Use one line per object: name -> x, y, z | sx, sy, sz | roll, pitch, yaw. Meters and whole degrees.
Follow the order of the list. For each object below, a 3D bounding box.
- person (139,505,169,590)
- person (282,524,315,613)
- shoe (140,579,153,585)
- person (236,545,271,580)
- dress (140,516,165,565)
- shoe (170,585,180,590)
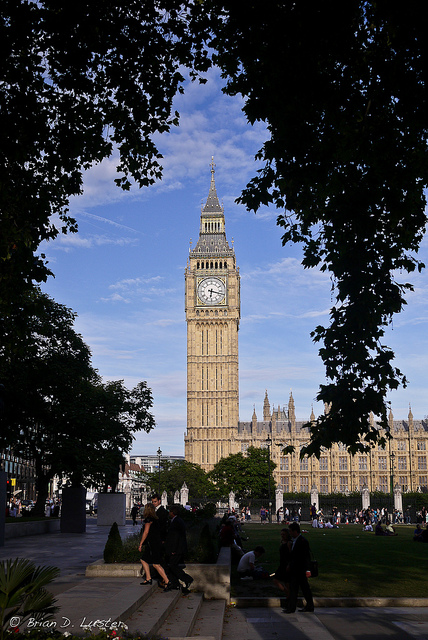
person -> -1.173, 4.471, 14.329 | 0.575, 1.550, 1.459 | 1, -12, -5
person -> 1.527, 4.589, 13.363 | 0.577, 1.592, 0.912 | -1, -13, 5
shoe -> -1.274, 4.907, 13.575 | 0.210, 0.081, 0.214 | 1, -12, -5
person -> 0.971, 5.930, 17.720 | 0.949, 0.778, 0.547 | -12, -17, 42
dress -> -1.226, 4.371, 14.297 | 0.385, 0.926, 0.764 | 0, -12, -3
shoe -> -0.767, 5.209, 14.085 | 0.117, 0.038, 0.165 | 2, -4, -2
